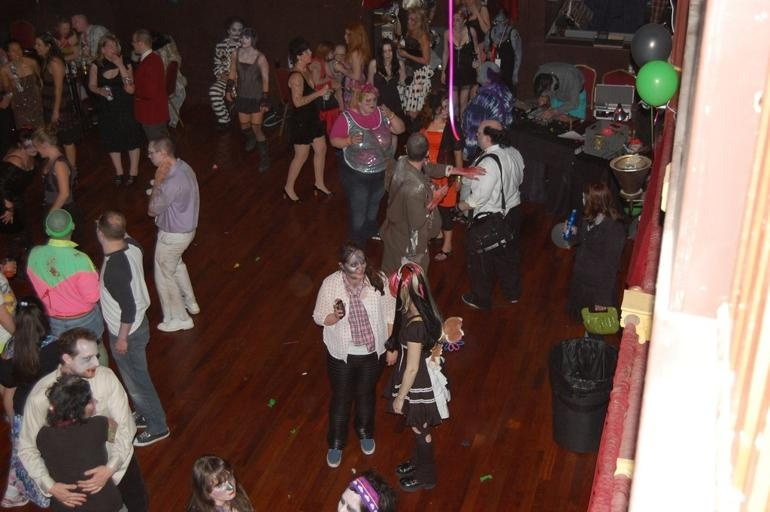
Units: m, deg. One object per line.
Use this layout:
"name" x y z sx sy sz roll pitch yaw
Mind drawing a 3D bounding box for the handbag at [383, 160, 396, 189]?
"handbag" 0.055 -0.741 5.491 0.095 0.264 0.303 0 12 -2

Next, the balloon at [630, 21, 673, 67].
"balloon" 2.597 -2.067 5.813 0.358 0.403 0.388 5 13 25

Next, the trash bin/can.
"trash bin/can" 1.538 1.131 4.711 0.497 0.892 0.434 5 12 22

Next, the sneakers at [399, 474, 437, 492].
"sneakers" 0.256 1.735 4.596 0.279 0.121 0.115 6 47 1

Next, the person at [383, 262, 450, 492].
"person" 0.238 0.915 4.295 0.443 1.812 0.489 1 11 6

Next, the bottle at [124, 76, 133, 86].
"bottle" -3.341 -2.252 7.791 0.098 0.140 0.115 -1 -7 -30

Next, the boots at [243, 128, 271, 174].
"boots" -1.895 -1.521 8.787 0.416 0.553 0.546 5 54 0

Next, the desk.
"desk" 2.136 -0.942 7.329 0.891 0.681 0.576 18 19 31

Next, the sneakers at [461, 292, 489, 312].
"sneakers" 0.932 0.482 6.207 0.267 0.109 0.122 30 49 21

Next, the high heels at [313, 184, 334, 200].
"high heels" -0.834 -0.863 7.993 0.316 0.233 0.118 2 34 1

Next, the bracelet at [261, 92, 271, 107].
"bracelet" -1.653 -2.152 8.283 0.116 0.167 0.051 -34 33 -33

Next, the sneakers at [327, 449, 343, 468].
"sneakers" -0.408 1.614 4.756 0.082 0.066 0.177 6 65 1

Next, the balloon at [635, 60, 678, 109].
"balloon" 2.264 -1.426 4.928 0.350 0.361 0.255 1 11 7

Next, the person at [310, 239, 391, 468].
"person" -0.217 0.795 4.464 0.577 1.852 0.549 0 10 -1

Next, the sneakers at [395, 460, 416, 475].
"sneakers" 0.156 1.646 4.660 0.171 0.077 0.074 -7 52 -9

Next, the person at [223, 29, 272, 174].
"person" -1.935 -2.149 8.414 0.543 1.888 0.976 -3 11 -15

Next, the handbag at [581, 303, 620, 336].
"handbag" 1.973 0.595 5.472 0.341 0.287 0.311 4 12 18

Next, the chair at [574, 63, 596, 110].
"chair" 3.087 -2.552 8.868 0.320 0.564 0.288 -16 3 -33

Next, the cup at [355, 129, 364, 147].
"cup" -0.264 -1.192 6.036 0.058 0.135 0.104 7 13 34

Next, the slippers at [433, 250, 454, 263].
"slippers" 0.663 0.001 6.863 0.167 0.072 0.092 -14 28 -25

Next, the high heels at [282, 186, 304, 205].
"high heels" -1.235 -0.811 7.901 0.298 0.228 0.127 22 42 14

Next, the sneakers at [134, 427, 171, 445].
"sneakers" -1.959 1.507 5.025 0.300 0.129 0.121 -9 51 -17

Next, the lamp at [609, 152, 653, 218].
"lamp" 2.492 -0.638 6.065 0.367 0.577 0.355 10 28 40

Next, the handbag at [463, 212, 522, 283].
"handbag" 1.076 0.009 6.039 0.429 1.009 0.344 -9 27 13
